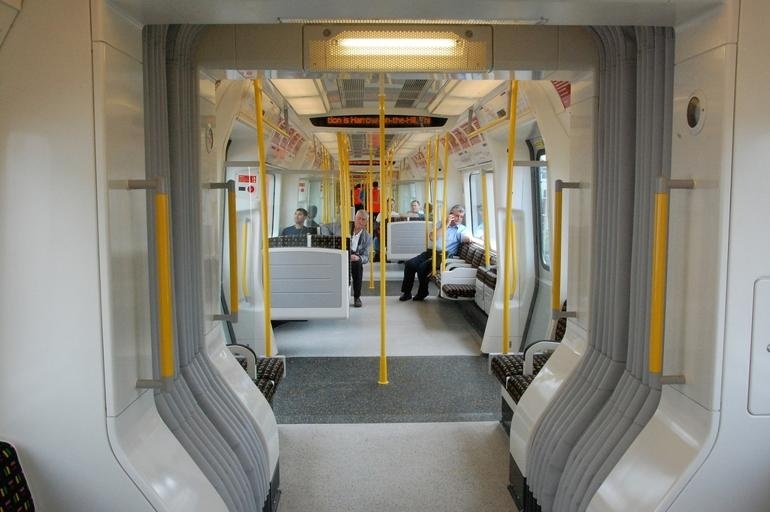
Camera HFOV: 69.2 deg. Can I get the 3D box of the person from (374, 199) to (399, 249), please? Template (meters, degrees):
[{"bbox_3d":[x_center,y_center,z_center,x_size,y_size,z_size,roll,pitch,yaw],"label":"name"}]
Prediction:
[{"bbox_3d":[-0.011,-0.718,13.435,0.373,1.274,0.360,9,8,-41],"label":"person"}]

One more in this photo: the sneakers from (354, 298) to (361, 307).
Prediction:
[{"bbox_3d":[-0.489,0.819,9.852,0.116,0.146,0.331,-1,-3,-7],"label":"sneakers"}]

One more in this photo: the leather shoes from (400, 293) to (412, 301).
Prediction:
[{"bbox_3d":[0.383,0.778,10.530,0.259,0.119,0.099,-3,2,-12],"label":"leather shoes"}]
